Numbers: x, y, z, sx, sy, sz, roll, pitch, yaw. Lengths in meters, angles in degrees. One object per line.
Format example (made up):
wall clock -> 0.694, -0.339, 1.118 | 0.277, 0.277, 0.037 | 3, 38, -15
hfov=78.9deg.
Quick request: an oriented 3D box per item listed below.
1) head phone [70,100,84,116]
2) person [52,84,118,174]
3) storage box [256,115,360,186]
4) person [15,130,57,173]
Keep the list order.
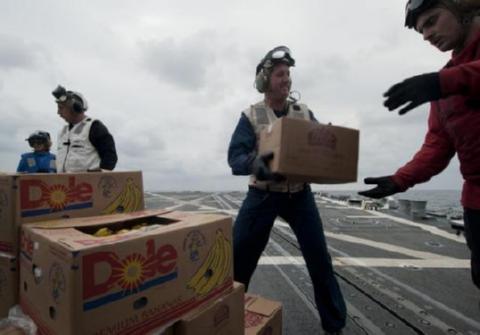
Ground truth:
head phone -> -2.337, -0.867, 4.152 | 0.132, 0.145, 0.178 | 4, 6, -17
person -> -2.135, -0.375, 3.904 | 1.022, 1.122, 0.606 | -9, -9, 32
storage box -> 0.608, -0.125, 2.829 | 0.857, 0.483, 0.845 | 9, -7, -23
person -> -4.057, -0.241, 5.775 | 0.764, 0.778, 0.455 | 4, -19, -32
